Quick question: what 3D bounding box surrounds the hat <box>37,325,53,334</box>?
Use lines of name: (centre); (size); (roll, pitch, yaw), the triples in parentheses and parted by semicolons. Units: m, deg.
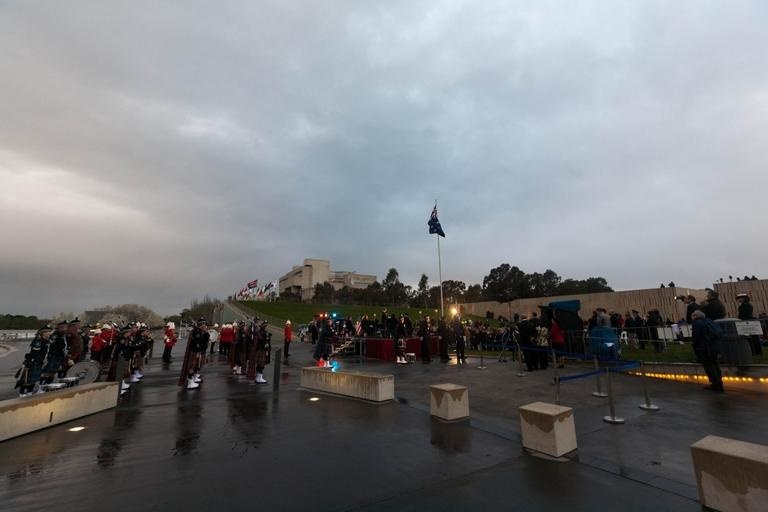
hat: (-12.124, 2.618, 12.236); (0.364, 0.145, 0.351); (1, -8, -19)
